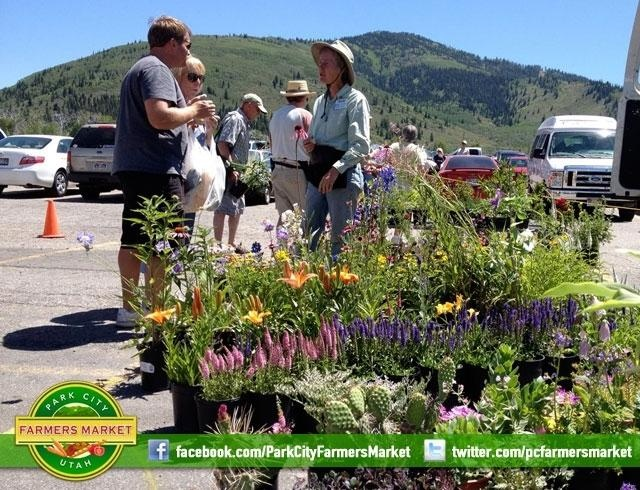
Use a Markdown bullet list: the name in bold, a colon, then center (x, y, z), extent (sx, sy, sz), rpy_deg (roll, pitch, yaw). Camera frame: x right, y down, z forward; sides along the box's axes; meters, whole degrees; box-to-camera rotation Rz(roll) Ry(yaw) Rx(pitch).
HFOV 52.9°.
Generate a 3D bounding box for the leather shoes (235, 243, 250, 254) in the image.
- **leather shoes**: center (-0.785, 0.039, 6.632), extent (0.129, 0.087, 0.137), rpy_deg (19, 26, 25)

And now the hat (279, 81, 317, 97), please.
- **hat**: center (-0.250, -1.812, 7.493), extent (0.261, 0.138, 0.342), rpy_deg (1, 15, 5)

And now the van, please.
- **van**: center (6.777, -2.144, 16.795), extent (2.315, 2.726, 4.670), rpy_deg (1, 7, 4)

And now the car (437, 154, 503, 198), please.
- **car**: center (3.451, -1.642, 14.912), extent (1.116, 1.026, 2.952), rpy_deg (1, 19, 4)
